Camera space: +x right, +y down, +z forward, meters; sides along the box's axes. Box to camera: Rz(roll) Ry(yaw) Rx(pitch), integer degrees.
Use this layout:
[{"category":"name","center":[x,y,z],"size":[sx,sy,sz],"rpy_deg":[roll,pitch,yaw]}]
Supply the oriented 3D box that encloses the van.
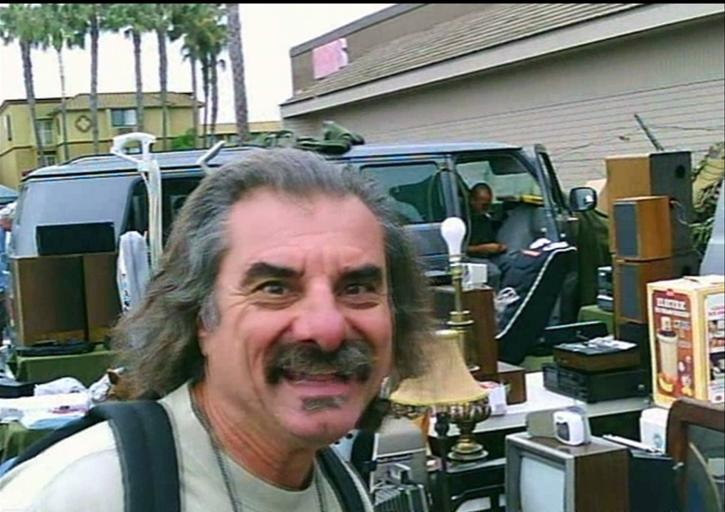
[{"category":"van","center":[-0.303,-0.443,6.322],"size":[4.272,2.034,2.481],"rpy_deg":[-3,3,-21]}]

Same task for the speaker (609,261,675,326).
[{"category":"speaker","center":[1.646,0.212,4.085],"size":[0.414,0.359,0.219],"rpy_deg":[-4,4,-35]}]
